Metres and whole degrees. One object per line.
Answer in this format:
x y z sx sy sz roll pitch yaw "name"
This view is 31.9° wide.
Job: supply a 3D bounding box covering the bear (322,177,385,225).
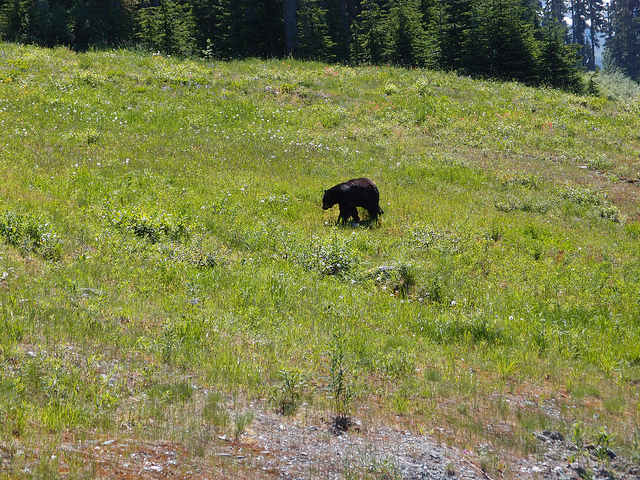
2.143 -2.465 70.297 3.843 3.515 2.033 -3 7 -6 "bear"
